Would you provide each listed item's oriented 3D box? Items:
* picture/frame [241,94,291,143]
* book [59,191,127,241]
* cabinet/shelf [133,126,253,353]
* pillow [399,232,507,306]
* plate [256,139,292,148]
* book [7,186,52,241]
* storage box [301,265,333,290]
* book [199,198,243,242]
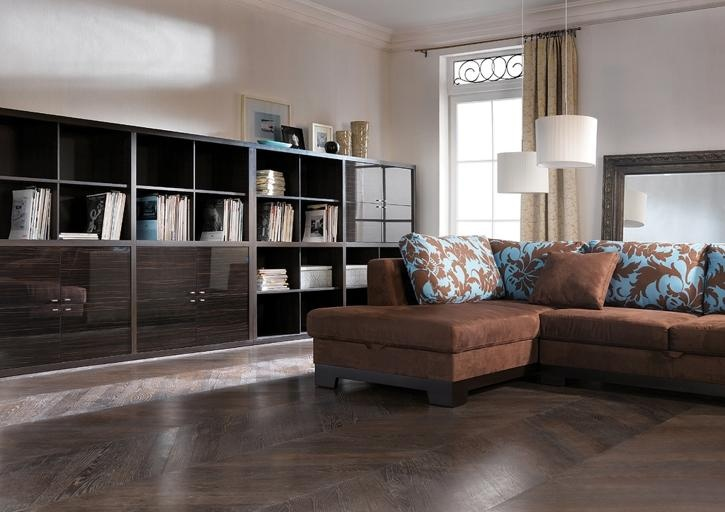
[{"bbox_3d":[-1.037,-1.451,5.654,0.030,0.509,0.793,-3,-1,40],"label":"picture/frame"},{"bbox_3d":[-2.126,-0.324,4.233,0.511,0.414,0.115,0,-4,32],"label":"book"},{"bbox_3d":[-1.586,-0.117,4.859,1.158,1.855,0.468,-1,1,-44],"label":"cabinet/shelf"},{"bbox_3d":[0.654,0.091,3.983,0.939,0.495,0.245,-8,-16,-43],"label":"pillow"},{"bbox_3d":[-0.861,-1.121,5.337,0.247,0.038,0.156,1,0,-17],"label":"plate"},{"bbox_3d":[-2.462,-0.311,3.984,0.256,0.381,0.312,0,1,-33],"label":"book"},{"bbox_3d":[-0.477,0.222,5.638,0.271,0.147,0.272,-3,-3,37],"label":"storage box"},{"bbox_3d":[-1.293,-0.334,4.980,0.424,0.472,0.303,-3,-8,36],"label":"book"}]
